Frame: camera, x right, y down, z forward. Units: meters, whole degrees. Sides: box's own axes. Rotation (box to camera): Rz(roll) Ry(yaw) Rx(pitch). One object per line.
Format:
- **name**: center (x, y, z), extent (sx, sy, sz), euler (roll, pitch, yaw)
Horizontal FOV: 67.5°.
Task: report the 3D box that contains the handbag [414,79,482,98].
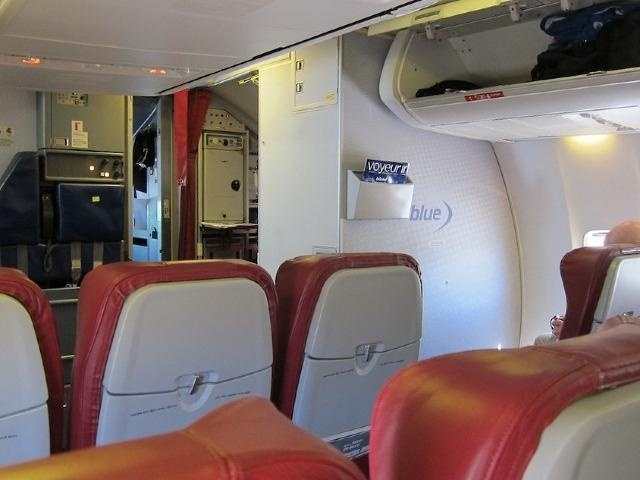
- **handbag**: center (0.914, -1.085, 3.404), extent (0.315, 0.100, 0.258), euler (-9, 4, 1)
